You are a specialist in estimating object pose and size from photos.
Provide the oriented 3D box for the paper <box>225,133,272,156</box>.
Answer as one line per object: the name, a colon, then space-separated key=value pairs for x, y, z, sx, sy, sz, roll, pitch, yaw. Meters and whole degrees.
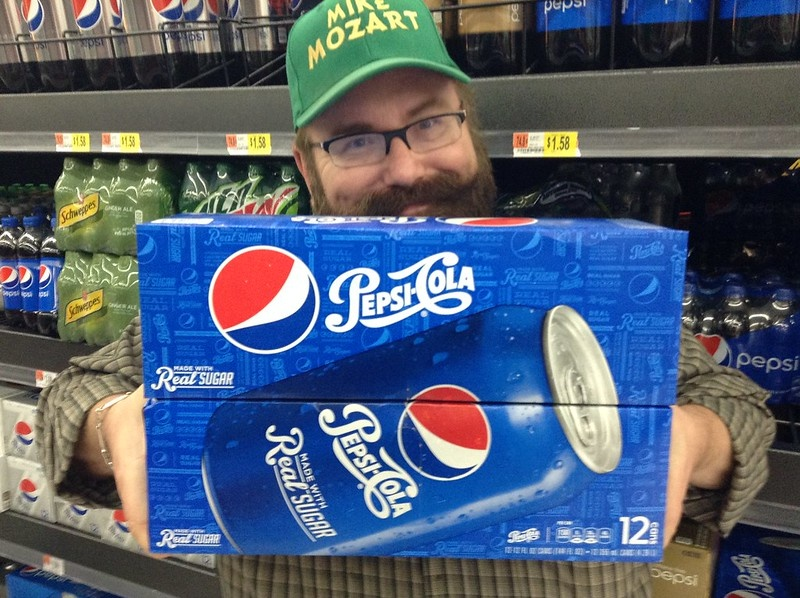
paper: x=-0.398 y=-0.406 z=2.258 sx=0.074 sy=0.020 sz=0.083 roll=-8 pitch=41 yaw=-8

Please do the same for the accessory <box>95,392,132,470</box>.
accessory: x=-0.608 y=0.279 z=1.796 sx=0.038 sy=0.133 sz=0.133 roll=-8 pitch=-25 yaw=13
